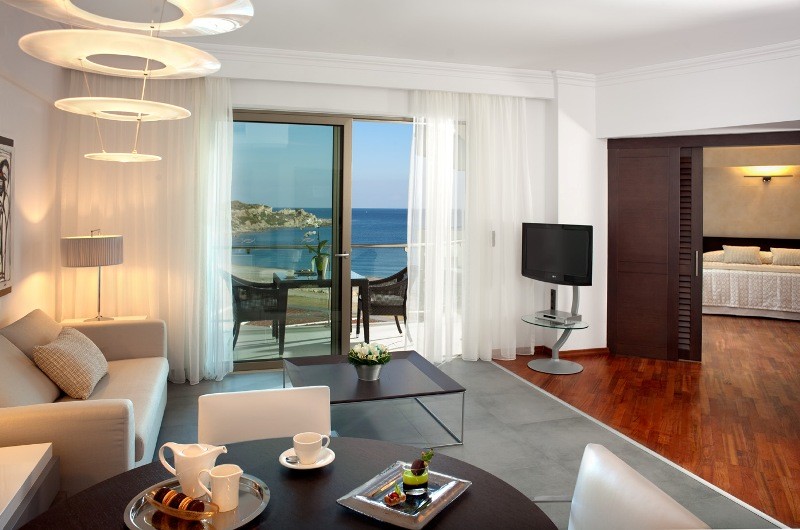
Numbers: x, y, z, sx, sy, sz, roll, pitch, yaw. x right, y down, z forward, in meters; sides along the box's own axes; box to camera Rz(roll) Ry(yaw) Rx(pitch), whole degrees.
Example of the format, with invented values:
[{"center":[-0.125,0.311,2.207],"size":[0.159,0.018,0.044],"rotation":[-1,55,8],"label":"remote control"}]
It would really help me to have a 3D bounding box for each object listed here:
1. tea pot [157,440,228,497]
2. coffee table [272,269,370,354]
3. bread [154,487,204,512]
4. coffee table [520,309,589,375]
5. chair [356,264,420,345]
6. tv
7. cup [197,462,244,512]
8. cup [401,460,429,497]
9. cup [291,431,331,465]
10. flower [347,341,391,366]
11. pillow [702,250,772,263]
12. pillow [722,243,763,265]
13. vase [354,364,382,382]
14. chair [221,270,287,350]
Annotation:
[{"center":[-0.968,0.880,2.363],"size":[0.334,0.220,0.191],"rotation":[1,-1,-9],"label":"tea pot"},{"center":[-0.950,0.390,6.298],"size":[1.175,0.851,0.875],"rotation":[0,4,-11],"label":"coffee table"},{"center":[-0.926,0.946,2.191],"size":[0.175,0.046,0.090],"rotation":[7,-8,15],"label":"bread"},{"center":[1.800,0.903,6.057],"size":[0.678,0.475,0.664],"rotation":[-2,2,-36],"label":"coffee table"},{"center":[-0.117,0.498,6.786],"size":[0.867,1.115,0.906],"rotation":[3,-2,-10],"label":"chair"},{"center":[1.777,-0.139,5.894],"size":[0.747,0.600,0.076],"rotation":[4,4,40],"label":"tv"},{"center":[-0.737,0.935,2.241],"size":[0.218,0.183,0.139],"rotation":[0,4,-13],"label":"cup"},{"center":[0.065,0.932,2.336],"size":[0.121,0.129,0.127],"rotation":[-1,-3,0],"label":"cup"},{"center":[-0.423,0.831,2.481],"size":[0.142,0.113,0.194],"rotation":[-2,-1,31],"label":"cup"},{"center":[-0.255,0.704,4.258],"size":[0.216,0.094,0.215],"rotation":[0,-1,21],"label":"flower"},{"center":[5.544,-0.146,8.699],"size":[0.603,0.141,0.438],"rotation":[1,4,21],"label":"pillow"},{"center":[5.660,-0.165,8.724],"size":[0.391,0.347,0.116],"rotation":[-1,-10,28],"label":"pillow"},{"center":[-0.252,0.840,4.239],"size":[0.161,0.076,0.159],"rotation":[1,0,-14],"label":"vase"},{"center":[-1.510,0.471,5.758],"size":[0.749,0.968,0.668],"rotation":[-1,4,-10],"label":"chair"}]
